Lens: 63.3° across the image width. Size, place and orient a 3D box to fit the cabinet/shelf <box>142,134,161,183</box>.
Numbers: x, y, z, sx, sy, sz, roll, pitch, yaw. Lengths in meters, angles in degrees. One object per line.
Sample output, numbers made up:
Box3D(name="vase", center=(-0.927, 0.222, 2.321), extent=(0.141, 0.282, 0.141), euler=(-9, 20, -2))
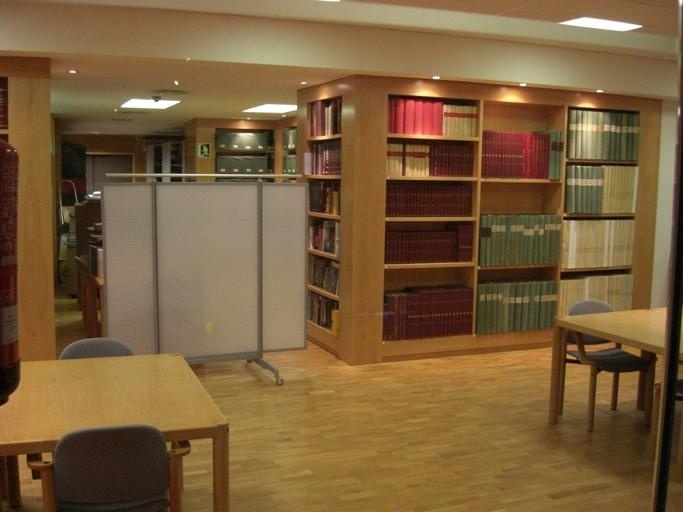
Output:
Box3D(name="cabinet/shelf", center=(-4.623, -2.431, 13.690), extent=(0.353, 1.074, 1.528), euler=(-2, 8, -20))

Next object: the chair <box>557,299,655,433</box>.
Box3D(name="chair", center=(2.082, 0.855, 4.381), extent=(0.746, 0.805, 0.694), euler=(2, 0, -41))

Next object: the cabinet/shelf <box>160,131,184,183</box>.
Box3D(name="cabinet/shelf", center=(-3.834, -2.257, 12.597), extent=(0.468, 1.069, 1.610), euler=(-2, 8, -17))

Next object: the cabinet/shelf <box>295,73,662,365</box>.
Box3D(name="cabinet/shelf", center=(1.415, -0.459, 6.022), extent=(3.831, 2.534, 1.135), euler=(-1, 3, -20))

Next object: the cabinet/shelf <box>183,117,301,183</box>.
Box3D(name="cabinet/shelf", center=(-1.970, -2.030, 10.563), extent=(2.188, 1.146, 1.144), euler=(1, 8, -1))
